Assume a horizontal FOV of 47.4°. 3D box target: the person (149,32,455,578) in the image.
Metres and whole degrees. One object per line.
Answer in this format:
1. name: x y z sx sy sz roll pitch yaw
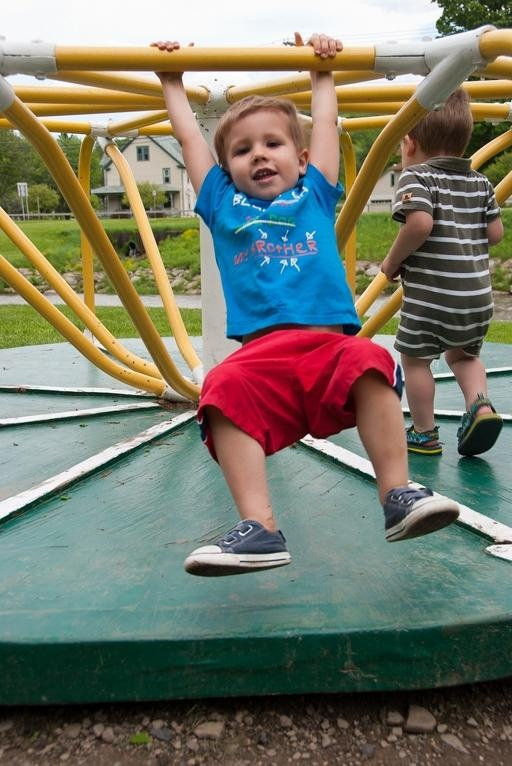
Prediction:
1. person: 0.071 -0.221 1.386 0.551 1.194 0.846 -3 10 -8

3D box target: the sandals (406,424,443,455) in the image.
1. sandals: 0.640 0.219 2.278 0.092 0.080 0.195 -1 6 -16

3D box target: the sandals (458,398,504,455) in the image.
1. sandals: 0.792 0.174 2.117 0.112 0.243 0.110 -3 50 -7

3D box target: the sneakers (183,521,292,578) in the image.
1. sneakers: -0.023 0.321 1.143 0.235 0.094 0.083 4 -25 -29
